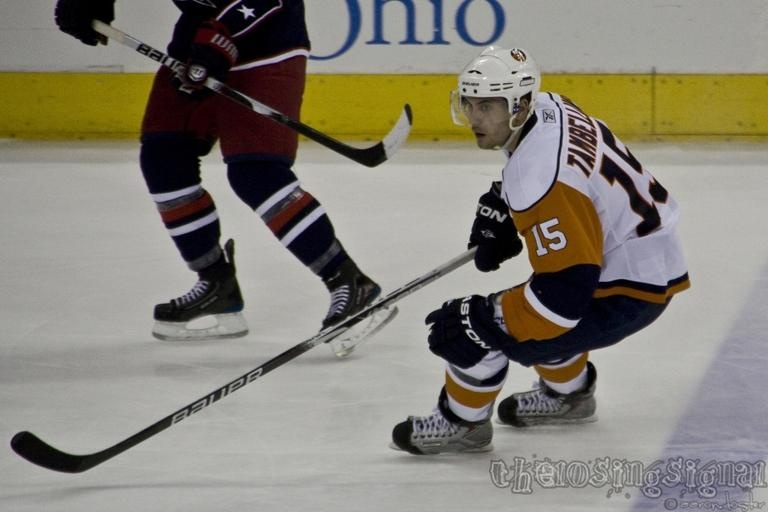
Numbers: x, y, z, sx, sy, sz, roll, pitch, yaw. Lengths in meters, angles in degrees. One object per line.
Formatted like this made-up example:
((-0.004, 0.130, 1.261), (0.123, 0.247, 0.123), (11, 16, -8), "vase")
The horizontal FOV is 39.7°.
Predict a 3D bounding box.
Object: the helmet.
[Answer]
((0.506, -0.767, 4.684), (0.407, 0.362, 0.300), (-2, 7, -10), "helmet")

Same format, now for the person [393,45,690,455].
((0.713, 0.020, 4.580), (1.125, 1.759, 0.541), (5, 18, 13), "person")

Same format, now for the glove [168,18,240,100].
((-0.879, -1.001, 5.412), (0.154, 0.377, 0.269), (36, -10, -18), "glove")

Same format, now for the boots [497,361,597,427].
((0.851, 0.643, 4.992), (0.604, 0.292, 0.197), (0, 7, -1), "boots")

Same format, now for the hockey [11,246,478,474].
((-0.392, 0.359, 5.064), (2.716, 0.409, 0.167), (-30, -7, -28), "hockey")

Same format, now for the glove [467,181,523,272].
((0.507, -0.145, 4.862), (0.252, 0.396, 0.144), (-8, 11, 20), "glove")

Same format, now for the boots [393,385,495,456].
((0.268, 0.762, 4.880), (0.550, 0.348, 0.187), (2, 7, -1), "boots")
